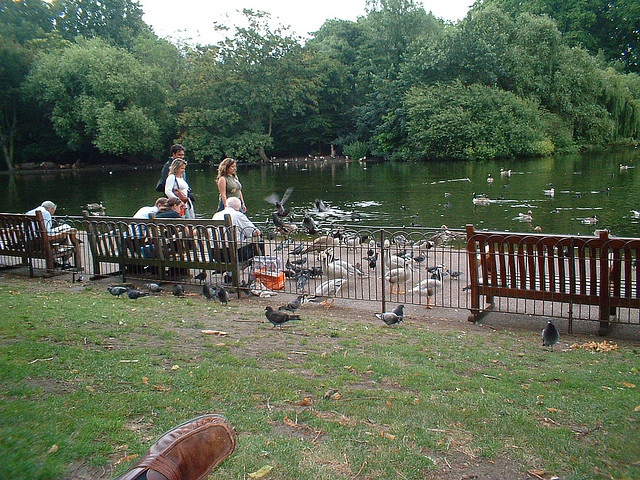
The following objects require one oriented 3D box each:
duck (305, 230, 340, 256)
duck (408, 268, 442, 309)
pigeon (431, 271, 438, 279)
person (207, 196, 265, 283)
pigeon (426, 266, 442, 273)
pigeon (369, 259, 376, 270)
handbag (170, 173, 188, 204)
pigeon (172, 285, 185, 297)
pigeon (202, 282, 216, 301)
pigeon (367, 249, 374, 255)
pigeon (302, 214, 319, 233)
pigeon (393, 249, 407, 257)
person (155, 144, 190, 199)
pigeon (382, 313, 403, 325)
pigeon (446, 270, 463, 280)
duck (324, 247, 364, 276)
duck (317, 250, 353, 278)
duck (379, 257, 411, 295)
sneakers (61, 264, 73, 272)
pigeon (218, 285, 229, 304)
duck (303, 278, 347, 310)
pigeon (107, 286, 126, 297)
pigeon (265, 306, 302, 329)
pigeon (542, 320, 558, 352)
[{"bbox_3d":[0.134,0.130,14.805,1.092,0.625,0.402,-3,5,21],"label":"duck"},{"bbox_3d":[2.292,1.024,12.085,0.710,0.804,0.724,-3,4,-13],"label":"duck"},{"bbox_3d":[2.388,0.755,12.005,0.129,0.083,0.127,-1,0,35],"label":"pigeon"},{"bbox_3d":[-1.829,-0.168,12.974,1.061,1.595,1.435,-3,4,-10],"label":"person"},{"bbox_3d":[2.492,0.659,12.585,0.185,0.102,0.247,-2,-1,-44],"label":"pigeon"},{"bbox_3d":[1.255,0.592,13.853,0.180,0.229,0.194,-15,39,12],"label":"pigeon"},{"bbox_3d":[-3.510,-1.205,14.243,0.147,0.584,0.332,-9,22,31],"label":"handbag"},{"bbox_3d":[-3.072,1.119,12.432,0.170,0.246,0.350,-1,-5,-21],"label":"pigeon"},{"bbox_3d":[-2.359,1.130,12.190,0.248,0.299,0.402,-4,4,-22],"label":"pigeon"},{"bbox_3d":[1.065,0.269,12.186,0.131,0.109,0.151,-1,1,-10],"label":"pigeon"},{"bbox_3d":[-0.287,-0.365,14.297,0.235,0.409,0.677,-9,-18,7],"label":"pigeon"},{"bbox_3d":[1.907,0.312,13.524,0.257,0.106,0.262,-4,4,4],"label":"pigeon"},{"bbox_3d":[-3.513,-1.816,14.318,0.595,0.587,1.495,-20,-5,-24],"label":"person"},{"bbox_3d":[1.315,1.494,10.748,0.351,0.218,0.188,21,-12,48],"label":"pigeon"},{"bbox_3d":[2.960,0.792,12.730,0.351,0.131,0.231,-6,9,-43],"label":"pigeon"},{"bbox_3d":[0.469,0.600,13.215,0.972,0.699,0.547,11,-9,4],"label":"duck"},{"bbox_3d":[0.288,0.616,13.384,0.876,0.632,0.495,9,-6,12],"label":"duck"},{"bbox_3d":[1.718,0.840,12.679,0.552,0.746,1.232,-2,4,5],"label":"duck"},{"bbox_3d":[-6.435,0.719,14.513,0.244,0.114,0.371,1,0,-42],"label":"sneakers"},{"bbox_3d":[-2.019,1.168,11.849,0.195,0.322,0.391,-3,4,-16],"label":"pigeon"},{"bbox_3d":[0.160,1.142,12.477,0.723,0.534,1.523,2,5,42],"label":"duck"},{"bbox_3d":[-4.287,1.110,12.061,0.383,0.199,0.335,2,5,44],"label":"pigeon"},{"bbox_3d":[-0.713,1.380,10.338,0.752,0.451,0.271,2,12,-28],"label":"pigeon"},{"bbox_3d":[3.862,1.654,9.679,0.194,0.361,0.600,-2,-28,13],"label":"pigeon"}]
